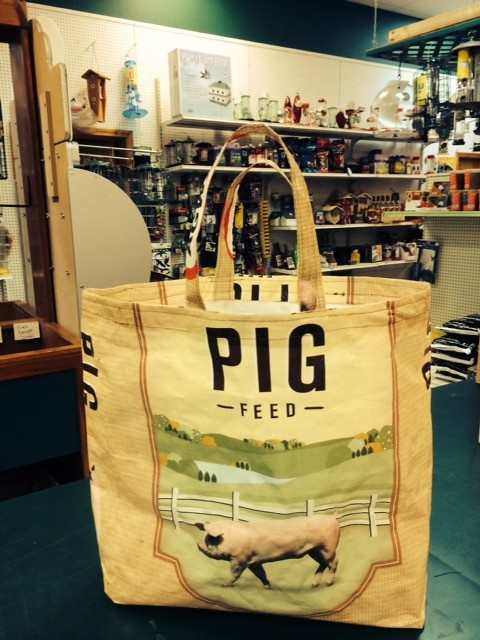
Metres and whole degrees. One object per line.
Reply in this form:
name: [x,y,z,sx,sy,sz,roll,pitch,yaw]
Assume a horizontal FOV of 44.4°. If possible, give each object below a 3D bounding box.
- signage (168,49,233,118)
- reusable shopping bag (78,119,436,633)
signage: [-0.287,-1.676,4.169,0.579,0.478,0.181,-4,8,-35]
reusable shopping bag: [0.005,0.147,0.675,0.410,0.363,0.170,4,13,20]
